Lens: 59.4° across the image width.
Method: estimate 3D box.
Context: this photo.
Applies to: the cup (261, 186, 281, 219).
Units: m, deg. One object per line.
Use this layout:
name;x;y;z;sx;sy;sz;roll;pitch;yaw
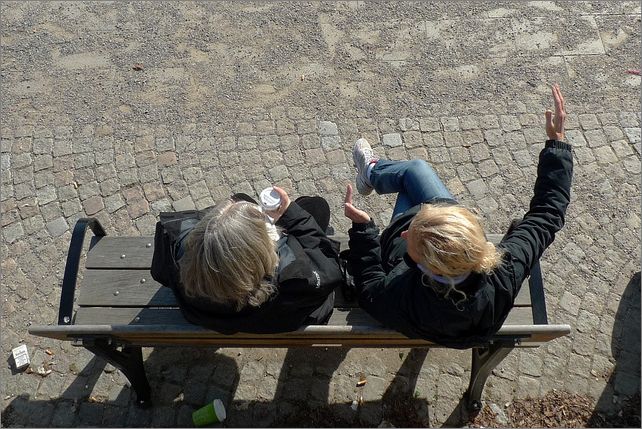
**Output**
cup;-0.426;-0.129;5.183;0.223;0.218;0.219;0;77;0
